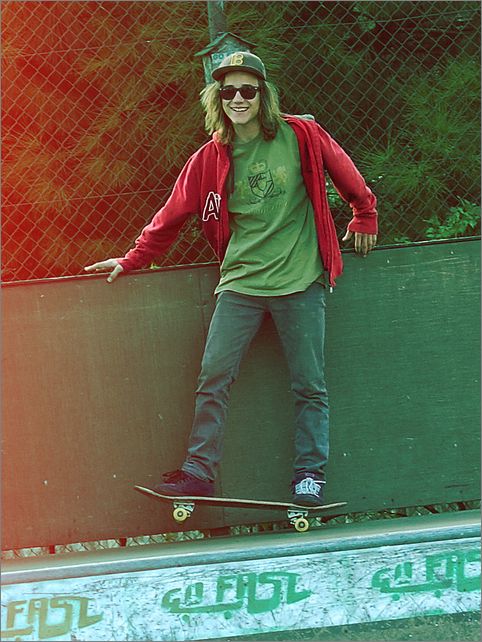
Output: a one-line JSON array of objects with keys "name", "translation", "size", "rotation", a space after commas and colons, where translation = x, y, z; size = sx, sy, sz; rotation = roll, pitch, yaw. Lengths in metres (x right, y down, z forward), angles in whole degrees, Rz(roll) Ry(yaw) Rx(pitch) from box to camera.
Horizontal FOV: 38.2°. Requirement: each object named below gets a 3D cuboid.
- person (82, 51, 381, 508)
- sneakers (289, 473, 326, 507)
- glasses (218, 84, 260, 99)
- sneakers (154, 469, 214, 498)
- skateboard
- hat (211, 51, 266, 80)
[{"name": "person", "translation": [0.022, -0.136, 2.858], "size": [0.954, 1.844, 0.976], "rotation": [0, 26, 20]}, {"name": "sneakers", "translation": [0.257, 0.667, 2.723], "size": [0.130, 0.126, 0.102], "rotation": [-5, 23, 7]}, {"name": "glasses", "translation": [-0.008, -0.913, 2.771], "size": [0.161, 0.063, 0.091], "rotation": [-5, 21, 2]}, {"name": "sneakers", "translation": [-0.222, 0.643, 2.739], "size": [0.279, 0.088, 0.082], "rotation": [6, -13, -5]}, {"name": "skateboard", "translation": [-0.155, 0.729, 2.758], "size": [1.199, 0.153, 0.259], "rotation": [2, -10, -1]}, {"name": "hat", "translation": [-0.019, -1.024, 2.801], "size": [0.204, 0.115, 0.123], "rotation": [-9, 22, -7]}]
